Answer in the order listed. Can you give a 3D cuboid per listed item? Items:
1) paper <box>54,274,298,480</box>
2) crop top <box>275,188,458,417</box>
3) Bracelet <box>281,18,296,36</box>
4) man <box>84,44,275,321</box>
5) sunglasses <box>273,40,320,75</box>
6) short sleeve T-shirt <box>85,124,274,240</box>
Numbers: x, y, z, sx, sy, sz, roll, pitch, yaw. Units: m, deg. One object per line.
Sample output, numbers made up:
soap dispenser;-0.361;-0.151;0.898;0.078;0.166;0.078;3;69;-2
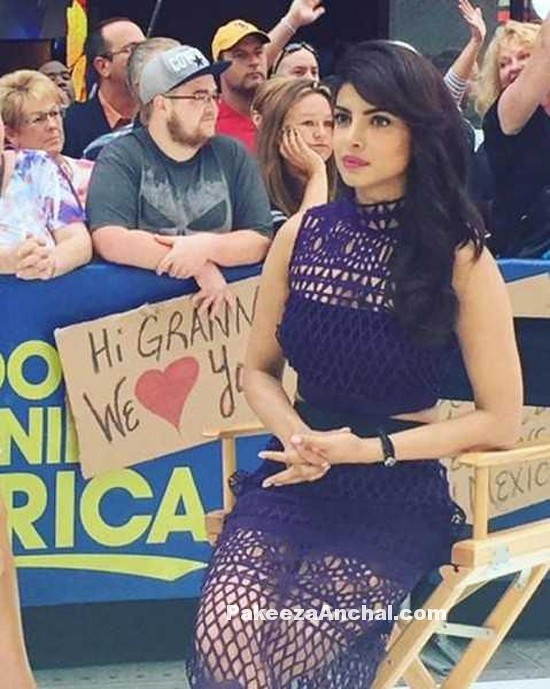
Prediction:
paper;-0.254;0.082;2.339;0.681;0.412;0.012;-17;-22;27
crop top;0.165;-0.089;1.733;0.241;0.363;0.295;-4;17;-27
Bracelet;0.039;-0.885;2.538;0.045;0.035;0.014;53;26;7
man;-0.247;-0.434;2.397;0.532;0.663;0.421;-8;23;-36
sunglasses;0.063;-0.791;2.547;0.089;0.102;0.098;7;31;-1
short sleeve T-shirt;-0.252;-0.419;2.429;0.495;0.302;0.214;-3;17;-13
